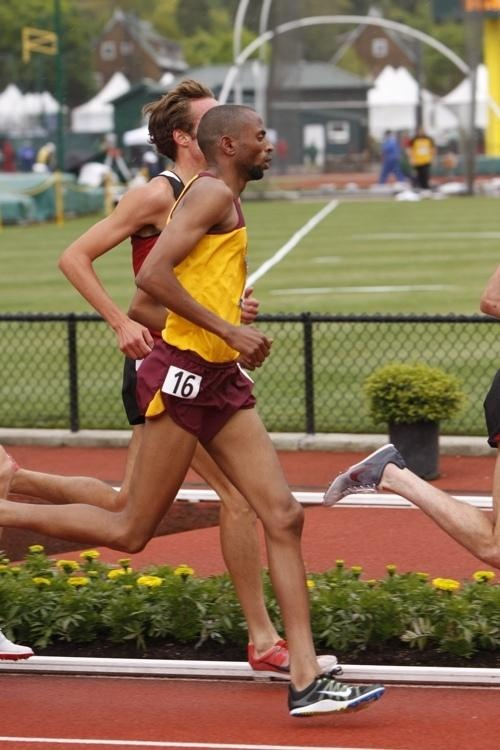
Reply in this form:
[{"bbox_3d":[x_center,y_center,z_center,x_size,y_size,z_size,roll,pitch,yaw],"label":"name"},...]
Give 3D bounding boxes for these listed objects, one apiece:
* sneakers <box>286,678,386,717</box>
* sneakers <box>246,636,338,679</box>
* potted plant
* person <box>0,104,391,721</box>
[{"bbox_3d":[0.214,0.843,2.334,0.279,0.102,0.093,-6,-23,5],"label":"sneakers"},{"bbox_3d":[0.137,0.851,2.680,0.347,0.132,0.115,-1,-7,8],"label":"sneakers"},{"bbox_3d":[0.874,0.282,5.939,0.863,0.809,0.708,-1,0,0],"label":"potted plant"},{"bbox_3d":[-0.142,0.060,2.480,1.021,1.650,0.494,0,6,8],"label":"person"}]
